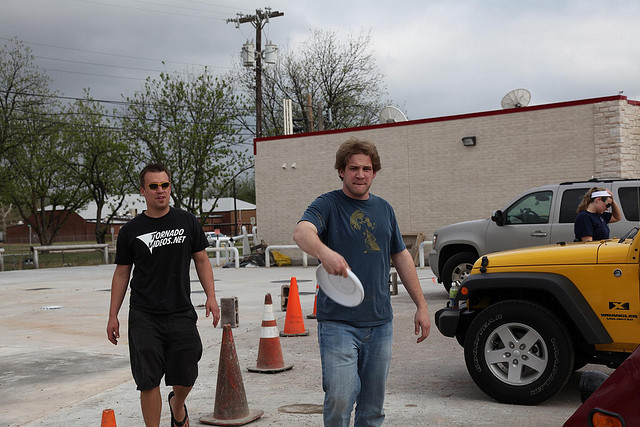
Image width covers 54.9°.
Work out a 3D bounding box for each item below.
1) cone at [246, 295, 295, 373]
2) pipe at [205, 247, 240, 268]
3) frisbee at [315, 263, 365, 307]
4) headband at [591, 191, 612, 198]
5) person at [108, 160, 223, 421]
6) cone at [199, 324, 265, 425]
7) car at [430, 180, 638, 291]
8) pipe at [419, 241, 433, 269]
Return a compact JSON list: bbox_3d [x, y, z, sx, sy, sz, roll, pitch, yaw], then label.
[{"bbox_3d":[-0.773,1.716,9.158,0.812,1.119,0.909,2,-6,-40],"label":"cone"},{"bbox_3d":[-4.068,1.782,26.515,1.124,0.906,2.109,-3,3,-7],"label":"pipe"},{"bbox_3d":[0.171,0.613,5.343,0.400,0.422,0.299,-2,3,2],"label":"frisbee"},{"bbox_3d":[4.661,-0.344,10.194,0.292,0.100,0.215,-2,3,22],"label":"headband"},{"bbox_3d":[-1.664,0.842,6.519,1.100,2.761,0.552,-4,4,-23],"label":"person"},{"bbox_3d":[-1.053,1.819,7.183,0.743,1.141,0.397,-3,4,-7],"label":"cone"},{"bbox_3d":[4.521,0.407,13.490,3.576,1.833,1.941,0,0,21],"label":"car"},{"bbox_3d":[3.911,1.462,22.901,0.409,1.085,1.575,-2,3,9],"label":"pipe"}]
